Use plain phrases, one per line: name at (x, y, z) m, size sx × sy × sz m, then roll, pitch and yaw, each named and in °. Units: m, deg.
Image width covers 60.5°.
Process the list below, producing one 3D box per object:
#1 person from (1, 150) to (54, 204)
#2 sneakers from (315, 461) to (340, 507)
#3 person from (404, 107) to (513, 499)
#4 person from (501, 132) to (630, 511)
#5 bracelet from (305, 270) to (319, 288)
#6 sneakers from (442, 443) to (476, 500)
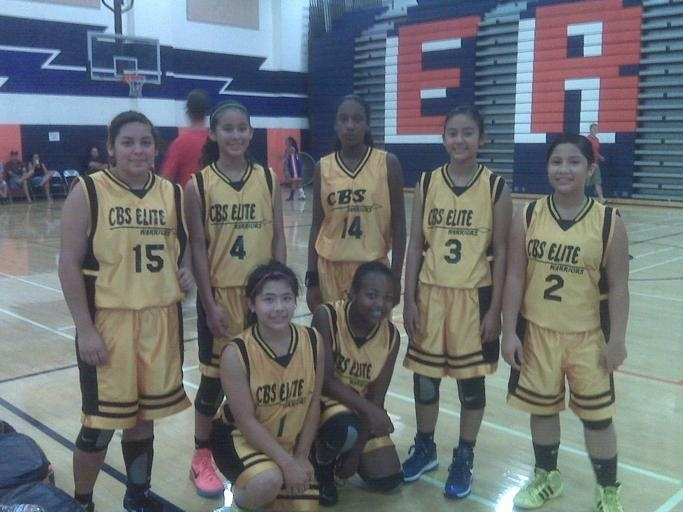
person at (-8.276, -2.197, 15.402) m, size 1.081 × 1.601 × 1.175 m, roll 16°, pitch 20°, yaw 42°
sneakers at (-0.074, 1.176, 3.034) m, size 0.154 × 0.285 × 0.188 m, roll -2°, pitch -16°, yaw -5°
person at (0.600, 0.221, 3.142) m, size 0.546 × 1.984 × 0.604 m, roll 4°, pitch 14°, yaw 16°
person at (1.122, 0.320, 2.923) m, size 0.609 × 1.811 × 0.423 m, roll 3°, pitch 13°, yaw 16°
bracelet at (-0.175, 0.143, 3.553) m, size 0.094 × 0.097 × 0.082 m, roll -2°, pitch -1°, yaw 27°
sneakers at (0.619, 1.145, 3.076) m, size 0.101 × 0.148 × 0.320 m, roll 1°, pitch 4°, yaw 17°
